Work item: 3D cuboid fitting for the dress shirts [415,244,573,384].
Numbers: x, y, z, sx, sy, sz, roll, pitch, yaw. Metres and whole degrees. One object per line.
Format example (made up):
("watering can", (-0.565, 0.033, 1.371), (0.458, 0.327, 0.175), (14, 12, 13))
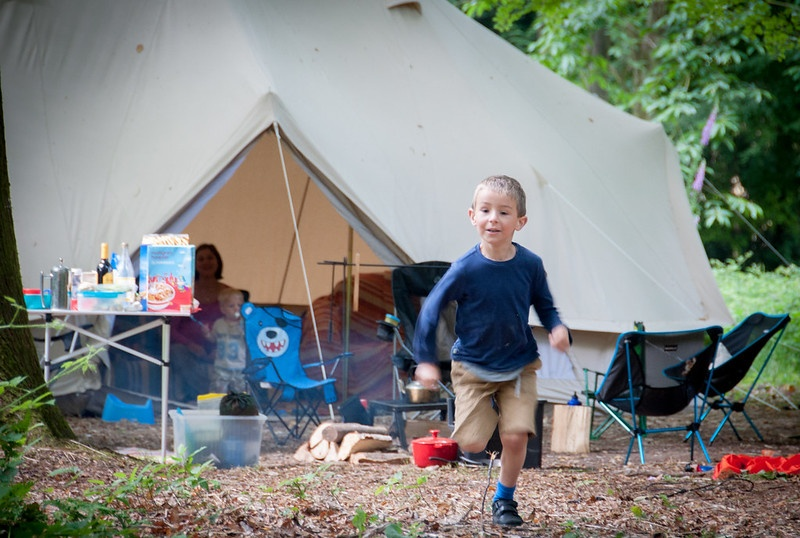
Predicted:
("dress shirts", (0.719, 0.295, 7.227), (1.089, 1.046, 0.440), (1, 5, -6))

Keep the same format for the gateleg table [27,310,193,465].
("gateleg table", (-2.781, 1.057, 9.098), (1.470, 1.310, 1.621), (0, -3, 8))

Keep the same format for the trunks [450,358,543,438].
("trunks", (0.656, 1.030, 7.318), (0.791, 0.913, 0.481), (1, -13, -3))

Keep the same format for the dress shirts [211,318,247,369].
("dress shirts", (-1.899, 0.831, 10.668), (0.437, 0.617, 0.317), (0, -14, -3))

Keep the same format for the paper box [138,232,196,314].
("paper box", (-2.122, 0.056, 8.655), (0.608, 0.975, 0.302), (0, -8, -5))

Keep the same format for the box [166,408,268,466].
("box", (-1.637, 1.525, 8.573), (0.673, 0.378, 0.502), (2, -6, -14))

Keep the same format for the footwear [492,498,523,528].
("footwear", (0.786, 1.779, 6.974), (0.222, 0.168, 0.215), (0, -3, 5))

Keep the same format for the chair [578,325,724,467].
("chair", (2.481, 1.245, 9.546), (1.034, 1.525, 1.331), (2, -5, -15))

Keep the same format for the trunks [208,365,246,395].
("trunks", (-1.914, 1.213, 10.553), (0.416, 0.357, 0.259), (0, -32, 5))

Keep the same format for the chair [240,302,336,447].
("chair", (-1.178, 1.083, 9.876), (1.073, 1.638, 1.140), (-7, -9, 39))

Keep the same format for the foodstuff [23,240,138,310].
("foodstuff", (-2.812, 0.116, 8.835), (0.683, 0.493, 0.744), (0, -3, 5))
